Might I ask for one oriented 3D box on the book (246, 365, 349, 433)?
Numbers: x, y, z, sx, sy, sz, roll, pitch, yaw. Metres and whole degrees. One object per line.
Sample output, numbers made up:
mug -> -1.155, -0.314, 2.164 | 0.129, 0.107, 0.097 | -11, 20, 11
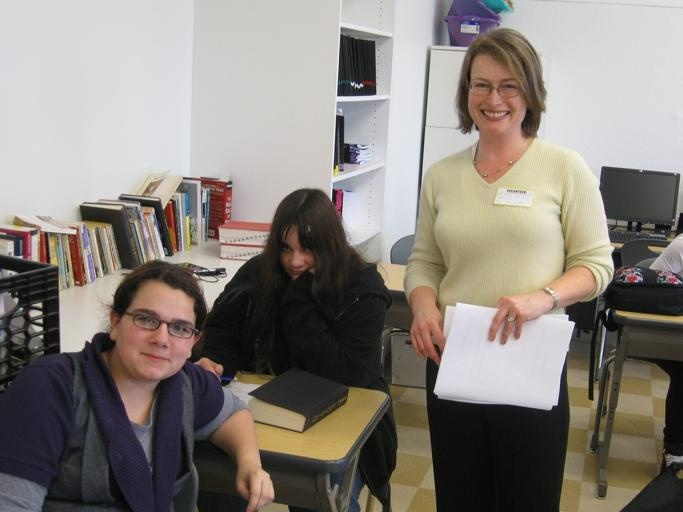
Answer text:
book -> -0.139, 0.465, 1.715 | 0.332, 0.077, 0.357 | -2, 8, -13

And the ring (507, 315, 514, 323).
ring -> 0.447, 0.168, 1.398 | 0.015, 0.019, 0.013 | 3, 5, 5

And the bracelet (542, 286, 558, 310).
bracelet -> 0.563, 0.111, 1.418 | 0.041, 0.053, 0.026 | 5, 5, 22

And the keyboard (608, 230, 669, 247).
keyboard -> 2.367, -0.138, 4.217 | 0.451, 0.168, 0.047 | 0, -10, 1

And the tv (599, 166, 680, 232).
tv -> 2.593, -0.492, 4.582 | 0.620, 0.611, 0.276 | 4, 16, 16

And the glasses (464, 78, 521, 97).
glasses -> 0.425, -0.465, 1.469 | 0.134, 0.049, 0.026 | 5, 6, 24
